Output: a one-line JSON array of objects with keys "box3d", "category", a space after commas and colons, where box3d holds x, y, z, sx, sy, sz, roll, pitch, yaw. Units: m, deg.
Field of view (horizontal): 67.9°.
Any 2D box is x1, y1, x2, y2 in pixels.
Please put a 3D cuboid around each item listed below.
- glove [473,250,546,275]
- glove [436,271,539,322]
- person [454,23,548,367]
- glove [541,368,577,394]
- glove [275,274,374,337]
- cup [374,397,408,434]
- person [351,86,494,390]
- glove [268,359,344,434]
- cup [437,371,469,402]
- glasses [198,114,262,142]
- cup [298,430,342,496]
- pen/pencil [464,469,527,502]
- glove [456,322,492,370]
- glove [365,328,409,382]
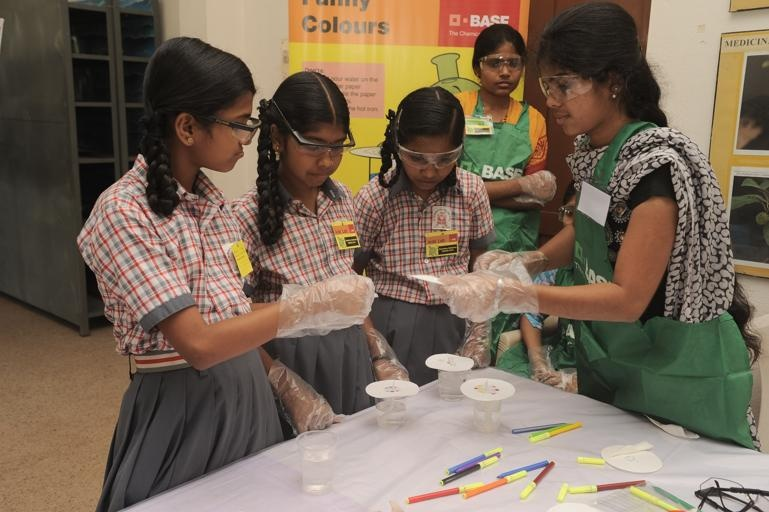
[{"box3d": [0.524, 0.014, 2.441, 0.192, 0.087, 0.149, -9, 10, -19], "category": "glove"}, {"box3d": [0.335, 0.138, 2.096, 0.247, 0.177, 0.431, -31, -8, -6], "category": "glove"}, {"box3d": [0.653, -0.263, 3.712, 0.810, 2.202, 0.670, 1, 24, 6], "category": "person"}, {"box3d": [0.793, 0.565, 2.557, 0.099, 0.042, 0.086, 7, 12, 14], "category": "glove"}, {"box3d": [-0.208, 0.178, 2.025, 0.255, 0.104, 0.238, -3, 57, -13], "category": "glove"}, {"box3d": [0.024, 0.575, 2.069, 0.105, 0.108, 0.110, -1, 4, 0], "category": "cup"}, {"box3d": [0.223, 0.208, 2.918, 0.739, 1.914, 0.723, -5, 22, -10], "category": "person"}, {"box3d": [-0.307, 0.535, 2.146, 0.184, 0.104, 0.286, -36, 78, -27], "category": "glove"}, {"box3d": [0.269, 0.504, 2.220, 0.115, 0.124, 0.097, 3, 11, 10], "category": "cup"}, {"box3d": [-0.518, -0.457, 1.979, 0.116, 0.036, 0.101, 21, 14, -10], "category": "glasses"}, {"box3d": [-0.220, 0.656, 1.824, 0.110, 0.163, 0.130, -11, 19, -33], "category": "cup"}, {"box3d": [0.351, 0.741, 1.818, 0.161, 0.028, 0.027, -15, -16, -28], "category": "pen/pencil"}, {"box3d": [0.413, 0.374, 2.601, 0.154, 0.275, 0.190, -1, 12, -2], "category": "glove"}, {"box3d": [0.008, 0.443, 2.476, 0.088, 0.078, 0.297, -28, 48, 4], "category": "glove"}]
